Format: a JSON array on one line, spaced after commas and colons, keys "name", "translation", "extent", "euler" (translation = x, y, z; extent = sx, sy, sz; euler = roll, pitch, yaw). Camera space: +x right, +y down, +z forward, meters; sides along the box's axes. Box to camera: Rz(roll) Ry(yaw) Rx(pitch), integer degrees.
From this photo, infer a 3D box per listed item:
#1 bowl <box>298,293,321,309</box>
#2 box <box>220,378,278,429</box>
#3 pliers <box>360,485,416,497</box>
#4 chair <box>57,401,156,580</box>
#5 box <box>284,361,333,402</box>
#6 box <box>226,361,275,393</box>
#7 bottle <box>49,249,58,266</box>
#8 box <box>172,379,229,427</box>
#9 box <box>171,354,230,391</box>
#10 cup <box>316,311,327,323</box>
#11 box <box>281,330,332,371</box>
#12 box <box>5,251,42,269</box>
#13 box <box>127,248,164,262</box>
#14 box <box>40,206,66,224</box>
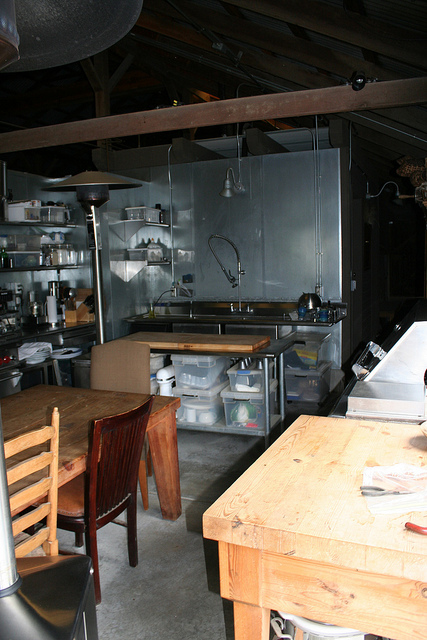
[{"name": "bowl", "translation": [1.115, -0.212, 5.463], "extent": [0.192, 0.135, 0.195], "euler": [0, 1, 0]}, {"name": "box", "translation": [0.284, 0.688, 3.926], "extent": [0.401, 0.306, 0.475], "euler": [1, 11, 10]}, {"name": "pliers", "translation": [0.420, 0.408, 1.128], "extent": [0.121, 0.017, 0.035], "euler": [-3, 14, 8]}, {"name": "chair", "translation": [-0.485, 0.810, 2.112], "extent": [0.506, 0.628, 0.409], "euler": [-3, 5, 45]}, {"name": "box", "translation": [0.988, 0.605, 4.955], "extent": [0.421, 0.270, 0.430], "euler": [0, 8, 22]}, {"name": "box", "translation": [0.276, 0.446, 3.746], "extent": [0.204, 0.156, 0.316], "euler": [0, 7, 16]}, {"name": "bottle", "translation": [-1.941, -0.756, 5.663], "extent": [0.049, 0.165, 0.127], "euler": [-3, 5, 39]}, {"name": "box", "translation": [-0.117, 0.683, 3.867], "extent": [0.302, 0.207, 0.420], "euler": [2, 7, 16]}, {"name": "box", "translation": [-0.120, 0.421, 3.799], "extent": [0.273, 0.208, 0.416], "euler": [0, 0, 25]}, {"name": "cup", "translation": [1.237, -0.030, 5.365], "extent": [0.122, 0.131, 0.124], "euler": [1, 1, 0]}, {"name": "box", "translation": [1.006, 0.310, 4.990], "extent": [0.379, 0.219, 0.601], "euler": [-1, 1, 19]}, {"name": "box", "translation": [-2.136, -0.663, 5.235], "extent": [0.244, 0.180, 0.531], "euler": [-6, 3, 3]}, {"name": "box", "translation": [-0.925, -0.912, 6.609], "extent": [0.209, 0.139, 0.569], "euler": [-3, 5, 43]}, {"name": "box", "translation": [-1.934, -1.260, 5.639], "extent": [0.167, 0.181, 0.421], "euler": [-4, 4, 33]}]
